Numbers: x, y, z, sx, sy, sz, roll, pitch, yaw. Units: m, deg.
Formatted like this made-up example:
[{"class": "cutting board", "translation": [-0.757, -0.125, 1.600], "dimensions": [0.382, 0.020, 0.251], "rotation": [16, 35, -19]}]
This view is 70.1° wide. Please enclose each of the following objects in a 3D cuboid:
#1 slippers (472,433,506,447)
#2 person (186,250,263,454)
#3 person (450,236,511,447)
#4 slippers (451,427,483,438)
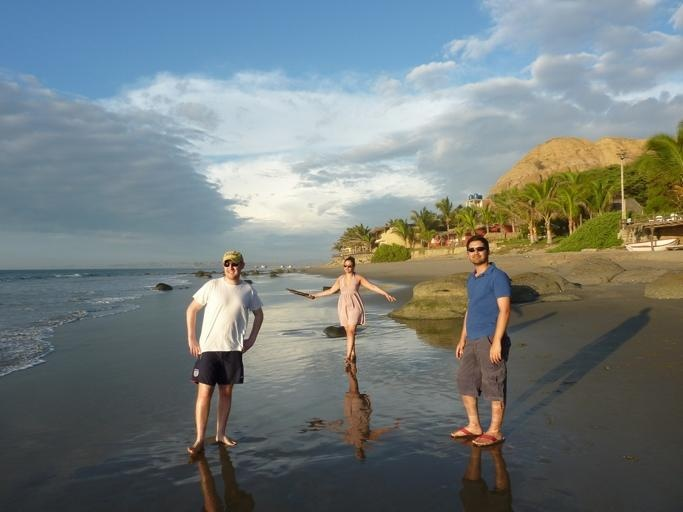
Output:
[{"class": "slippers", "translation": [1.828, 2.291, 6.069], "dimensions": [0.373, 0.082, 0.154], "rotation": [3, -8, -14]}, {"class": "person", "translation": [-1.548, 1.220, 6.342], "dimensions": [1.016, 2.184, 0.397], "rotation": [-4, 2, -15]}, {"class": "person", "translation": [1.807, 1.030, 6.297], "dimensions": [0.762, 2.629, 0.860], "rotation": [-3, 2, 16]}, {"class": "slippers", "translation": [1.590, 2.291, 6.306], "dimensions": [0.320, 0.071, 0.149], "rotation": [1, -7, 5]}]
